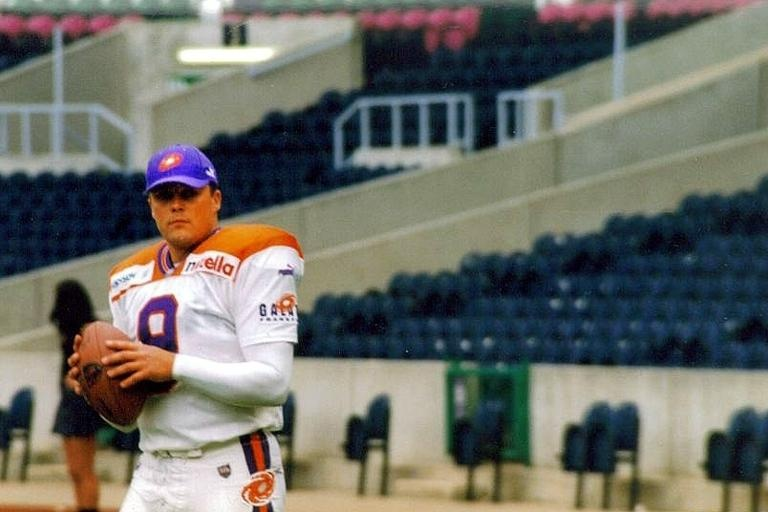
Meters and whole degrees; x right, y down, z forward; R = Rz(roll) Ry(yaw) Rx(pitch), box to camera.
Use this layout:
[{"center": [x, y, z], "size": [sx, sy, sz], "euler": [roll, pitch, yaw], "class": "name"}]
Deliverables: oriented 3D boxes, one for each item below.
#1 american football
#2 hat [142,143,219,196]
[{"center": [-1.334, 0.573, 8.954], "size": [0.270, 0.552, 0.297], "euler": [-1, 2, 15], "class": "american football"}, {"center": [-1.026, -0.442, 8.981], "size": [0.344, 0.257, 0.461], "euler": [-8, 3, -2], "class": "hat"}]
